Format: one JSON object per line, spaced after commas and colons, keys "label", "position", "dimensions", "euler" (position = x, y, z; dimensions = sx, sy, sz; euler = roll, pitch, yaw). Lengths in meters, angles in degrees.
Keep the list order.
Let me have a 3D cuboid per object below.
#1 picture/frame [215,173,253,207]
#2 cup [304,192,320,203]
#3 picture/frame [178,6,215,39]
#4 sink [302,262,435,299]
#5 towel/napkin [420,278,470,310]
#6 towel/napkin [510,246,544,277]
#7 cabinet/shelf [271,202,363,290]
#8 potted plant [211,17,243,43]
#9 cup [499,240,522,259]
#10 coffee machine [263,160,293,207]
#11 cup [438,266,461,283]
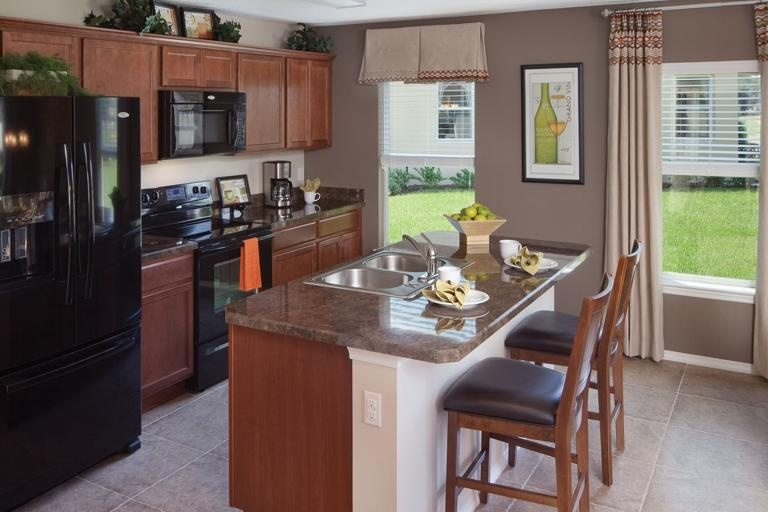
{"label": "picture/frame", "position": [-1.503, -0.648, 5.538], "dimensions": [0.036, 0.243, 0.346], "euler": [-8, 5, 31]}
{"label": "cup", "position": [-0.772, -0.635, 6.132], "dimensions": [0.163, 0.109, 0.103], "euler": [2, -3, -35]}
{"label": "picture/frame", "position": [-1.652, -2.042, 4.890], "dimensions": [0.046, 0.303, 0.433], "euler": [3, 9, 29]}
{"label": "sink", "position": [-0.077, 0.179, 3.414], "dimensions": [0.732, 0.135, 0.447], "euler": [5, 16, 21]}
{"label": "towel/napkin", "position": [0.338, 0.199, 3.027], "dimensions": [0.172, 0.062, 0.178], "euler": [7, 14, 26]}
{"label": "towel/napkin", "position": [0.939, 0.032, 3.617], "dimensions": [0.150, 0.074, 0.200], "euler": [0, 11, 26]}
{"label": "cabinet/shelf", "position": [-0.659, -0.101, 5.129], "dimensions": [0.315, 0.735, 0.820], "euler": [0, 6, 27]}
{"label": "potted plant", "position": [-1.425, -2.056, 5.069], "dimensions": [0.273, 0.189, 0.268], "euler": [-3, 3, -21]}
{"label": "cup", "position": [0.884, -0.044, 3.898], "dimensions": [0.154, 0.113, 0.118], "euler": [2, 4, 10]}
{"label": "coffee machine", "position": [-1.128, -0.758, 5.916], "dimensions": [0.301, 0.464, 0.323], "euler": [-4, 15, -12]}
{"label": "cup", "position": [0.374, 0.110, 3.198], "dimensions": [0.113, 0.076, 0.087], "euler": [1, 4, 35]}
